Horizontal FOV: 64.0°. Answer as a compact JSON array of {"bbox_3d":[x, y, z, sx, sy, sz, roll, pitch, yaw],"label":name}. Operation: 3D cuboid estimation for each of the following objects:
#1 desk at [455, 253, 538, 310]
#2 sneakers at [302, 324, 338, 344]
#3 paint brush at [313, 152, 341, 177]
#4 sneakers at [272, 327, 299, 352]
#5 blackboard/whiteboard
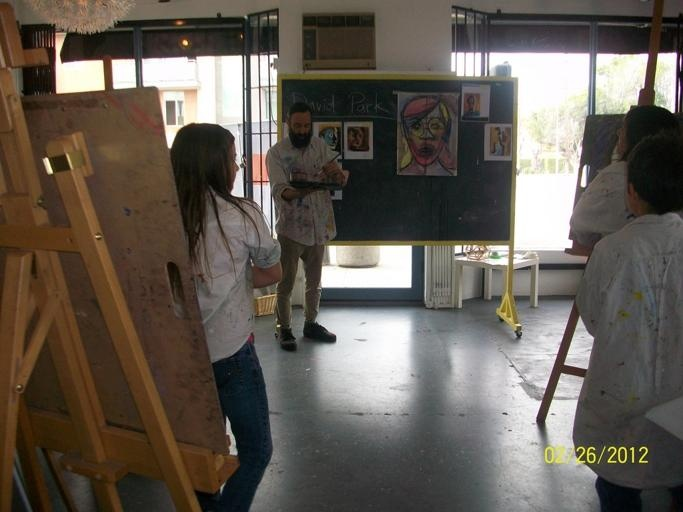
[{"bbox_3d":[1.499,0.146,5.292,0.618,0.522,0.598,0,0,-44],"label":"desk"},{"bbox_3d":[-0.183,0.613,4.307,0.287,0.142,0.114,9,9,21],"label":"sneakers"},{"bbox_3d":[-0.070,-0.640,3.998,0.167,0.161,0.337,0,10,5],"label":"paint brush"},{"bbox_3d":[-0.414,0.625,4.159,0.081,0.105,0.239,-1,0,-18],"label":"sneakers"},{"bbox_3d":[0.415,-0.805,4.320,1.257,1.040,0.019,0,3,0],"label":"blackboard/whiteboard"}]
